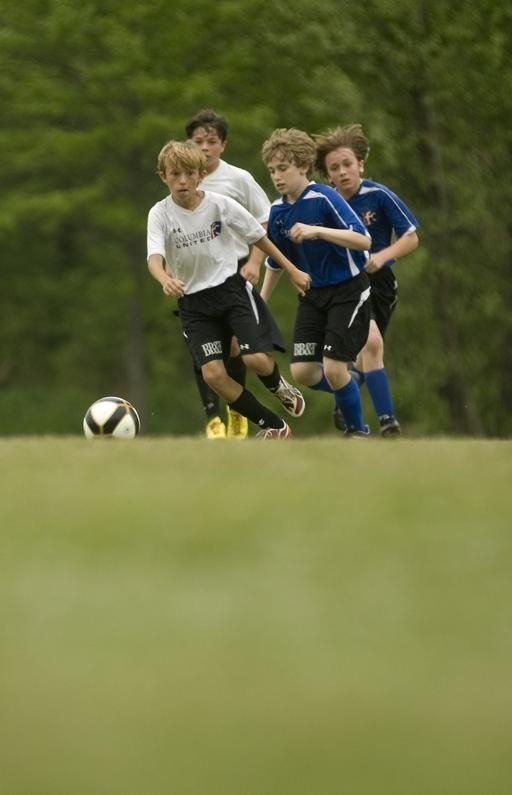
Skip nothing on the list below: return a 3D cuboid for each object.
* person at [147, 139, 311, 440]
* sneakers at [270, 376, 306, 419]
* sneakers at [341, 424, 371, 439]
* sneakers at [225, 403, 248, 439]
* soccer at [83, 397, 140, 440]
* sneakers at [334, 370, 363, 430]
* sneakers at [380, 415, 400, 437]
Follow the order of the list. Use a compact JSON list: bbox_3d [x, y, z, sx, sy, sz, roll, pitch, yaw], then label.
[{"bbox_3d":[-0.097,-0.334,2.690,0.582,0.996,0.463,5,30,2],"label":"person"},{"bbox_3d":[0.098,-0.021,3.018,0.096,0.079,0.234,33,13,-26],"label":"sneakers"},{"bbox_3d":[0.366,0.122,2.814,0.046,0.048,0.120,0,4,-11],"label":"sneakers"},{"bbox_3d":[-0.084,0.105,3.111,0.061,0.164,0.069,-4,11,13],"label":"sneakers"},{"bbox_3d":[-0.489,0.069,2.614,0.171,0.105,0.192,-1,29,-8],"label":"soccer"},{"bbox_3d":[0.353,0.020,2.804,0.085,0.223,0.195,-6,13,21],"label":"sneakers"},{"bbox_3d":[0.515,0.112,2.980,0.045,0.116,0.051,-4,67,5],"label":"sneakers"}]
